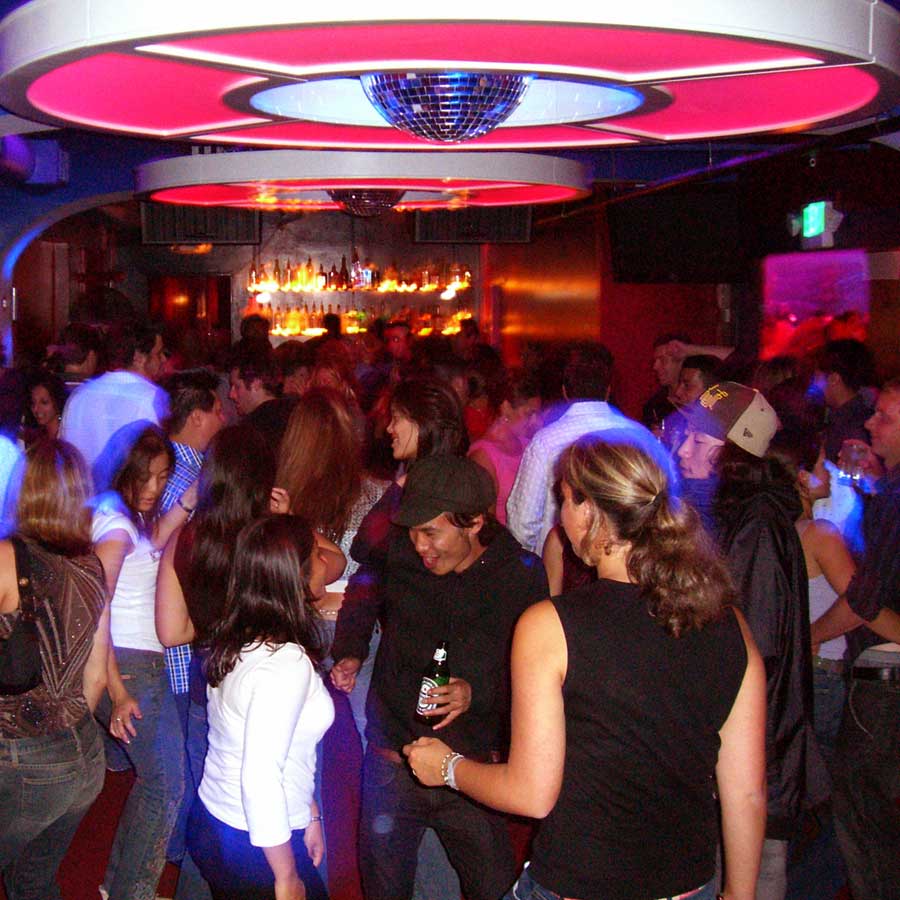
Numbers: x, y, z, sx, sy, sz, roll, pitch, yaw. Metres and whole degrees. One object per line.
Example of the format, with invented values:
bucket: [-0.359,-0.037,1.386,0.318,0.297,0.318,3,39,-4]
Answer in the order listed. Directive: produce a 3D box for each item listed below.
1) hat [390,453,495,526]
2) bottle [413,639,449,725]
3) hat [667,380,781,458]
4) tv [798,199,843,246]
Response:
hat: [-0.012,0.085,2.131,0.298,0.140,0.219,-14,22,-19]
bottle: [-0.044,0.593,2.099,0.087,0.188,0.236,-2,5,-3]
hat: [0.893,-0.105,2.620,0.166,0.218,0.429,-3,5,-11]
tv: [2.721,-1.670,6.064,0.187,0.338,0.382,-4,6,-22]
